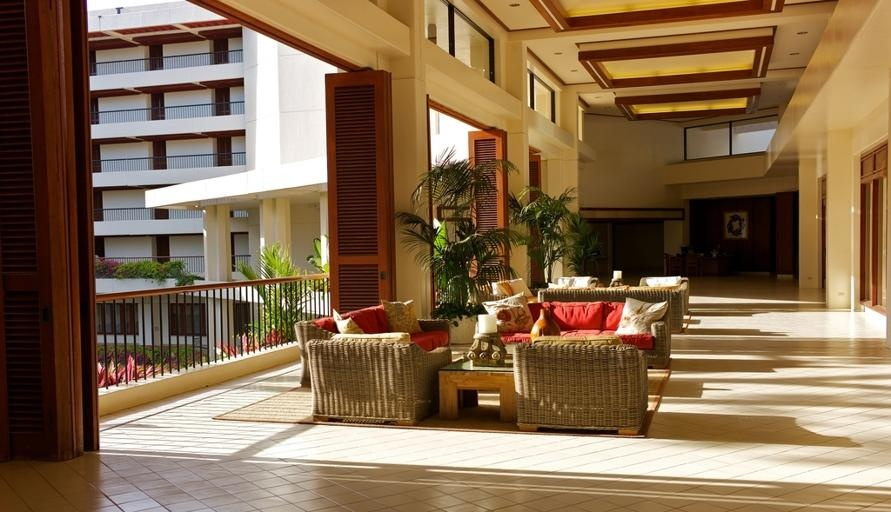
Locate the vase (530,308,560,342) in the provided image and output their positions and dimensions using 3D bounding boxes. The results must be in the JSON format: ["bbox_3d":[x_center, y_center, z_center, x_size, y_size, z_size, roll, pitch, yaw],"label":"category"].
[{"bbox_3d":[1.348,0.980,9.324,0.436,0.511,0.428,1,-2,-7],"label":"vase"}]

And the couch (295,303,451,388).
[{"bbox_3d":[-1.173,1.344,10.596,0.994,0.936,2.686,-8,-7,16],"label":"couch"}]

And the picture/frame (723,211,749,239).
[{"bbox_3d":[12.434,-1.342,29.211,1.212,1.307,0.107,5,9,39],"label":"picture/frame"}]

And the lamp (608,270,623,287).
[{"bbox_3d":[4.659,0.610,18.731,0.520,0.490,0.487,0,-5,1],"label":"lamp"}]

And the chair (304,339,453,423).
[{"bbox_3d":[-0.832,1.496,8.148,1.209,0.710,1.188,1,2,19],"label":"chair"}]

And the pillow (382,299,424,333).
[{"bbox_3d":[-0.635,0.894,10.132,0.544,0.459,0.158,-11,-9,-46],"label":"pillow"}]

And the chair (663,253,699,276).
[{"bbox_3d":[9.673,0.339,27.856,1.076,0.625,1.059,0,-2,26],"label":"chair"}]

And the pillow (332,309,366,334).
[{"bbox_3d":[-1.329,0.921,9.305,0.314,0.233,0.517,-3,8,-14],"label":"pillow"}]

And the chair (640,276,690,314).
[{"bbox_3d":[4.547,0.997,14.183,0.888,0.693,1.599,0,2,22],"label":"chair"}]

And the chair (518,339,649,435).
[{"bbox_3d":[1.509,1.466,7.765,1.220,0.806,1.161,0,1,13],"label":"chair"}]

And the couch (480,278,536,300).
[{"bbox_3d":[1.076,0.566,12.193,0.309,0.346,1.054,15,12,39],"label":"couch"}]

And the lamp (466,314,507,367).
[{"bbox_3d":[0.352,1.051,8.598,0.626,0.682,0.584,0,-5,-1],"label":"lamp"}]

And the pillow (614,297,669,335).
[{"bbox_3d":[2.930,0.902,10.212,0.763,0.470,0.523,0,8,7],"label":"pillow"}]

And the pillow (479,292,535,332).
[{"bbox_3d":[1.038,0.889,10.747,0.649,0.555,0.192,-15,-21,-24],"label":"pillow"}]
